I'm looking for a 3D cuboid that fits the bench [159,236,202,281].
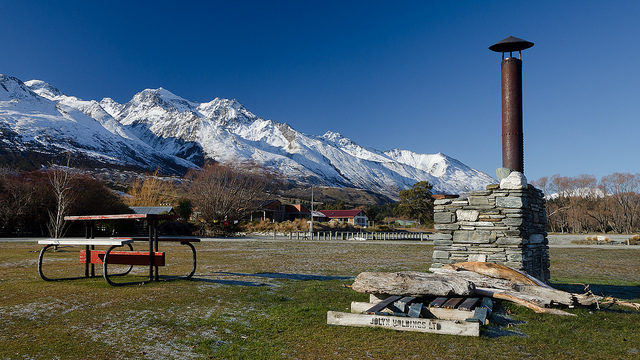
[{"bbox_3d":[-8.067,4.359,26.064,2.553,2.178,2.888,0,-12,-8],"label":"bench"}]
